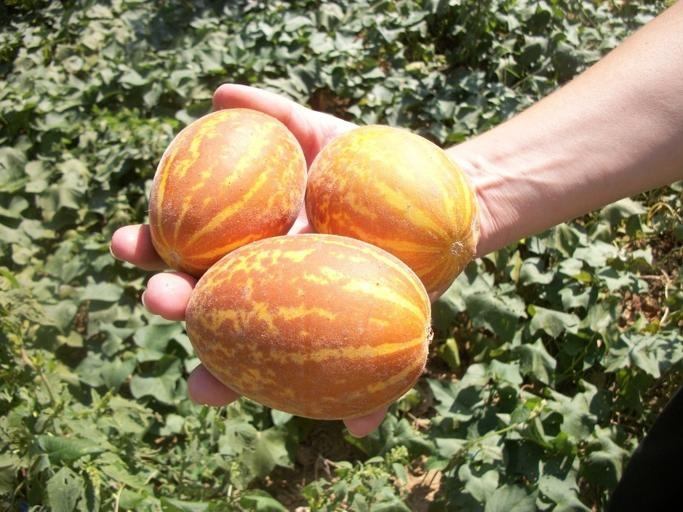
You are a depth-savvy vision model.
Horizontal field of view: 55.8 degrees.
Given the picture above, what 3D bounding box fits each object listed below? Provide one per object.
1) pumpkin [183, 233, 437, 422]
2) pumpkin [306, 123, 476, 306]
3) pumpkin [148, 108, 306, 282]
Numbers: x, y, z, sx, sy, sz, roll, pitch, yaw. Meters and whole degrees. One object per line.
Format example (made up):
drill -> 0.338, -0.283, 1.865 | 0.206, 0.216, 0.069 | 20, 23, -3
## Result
pumpkin -> -0.073, 0.229, 2.244 | 0.707, 0.593, 0.537 | 1, -20, 12
pumpkin -> 0.204, -0.175, 2.494 | 0.618, 0.487, 0.477 | 38, -7, 20
pumpkin -> -0.403, -0.255, 2.517 | 0.600, 0.584, 0.673 | 20, 37, 31
